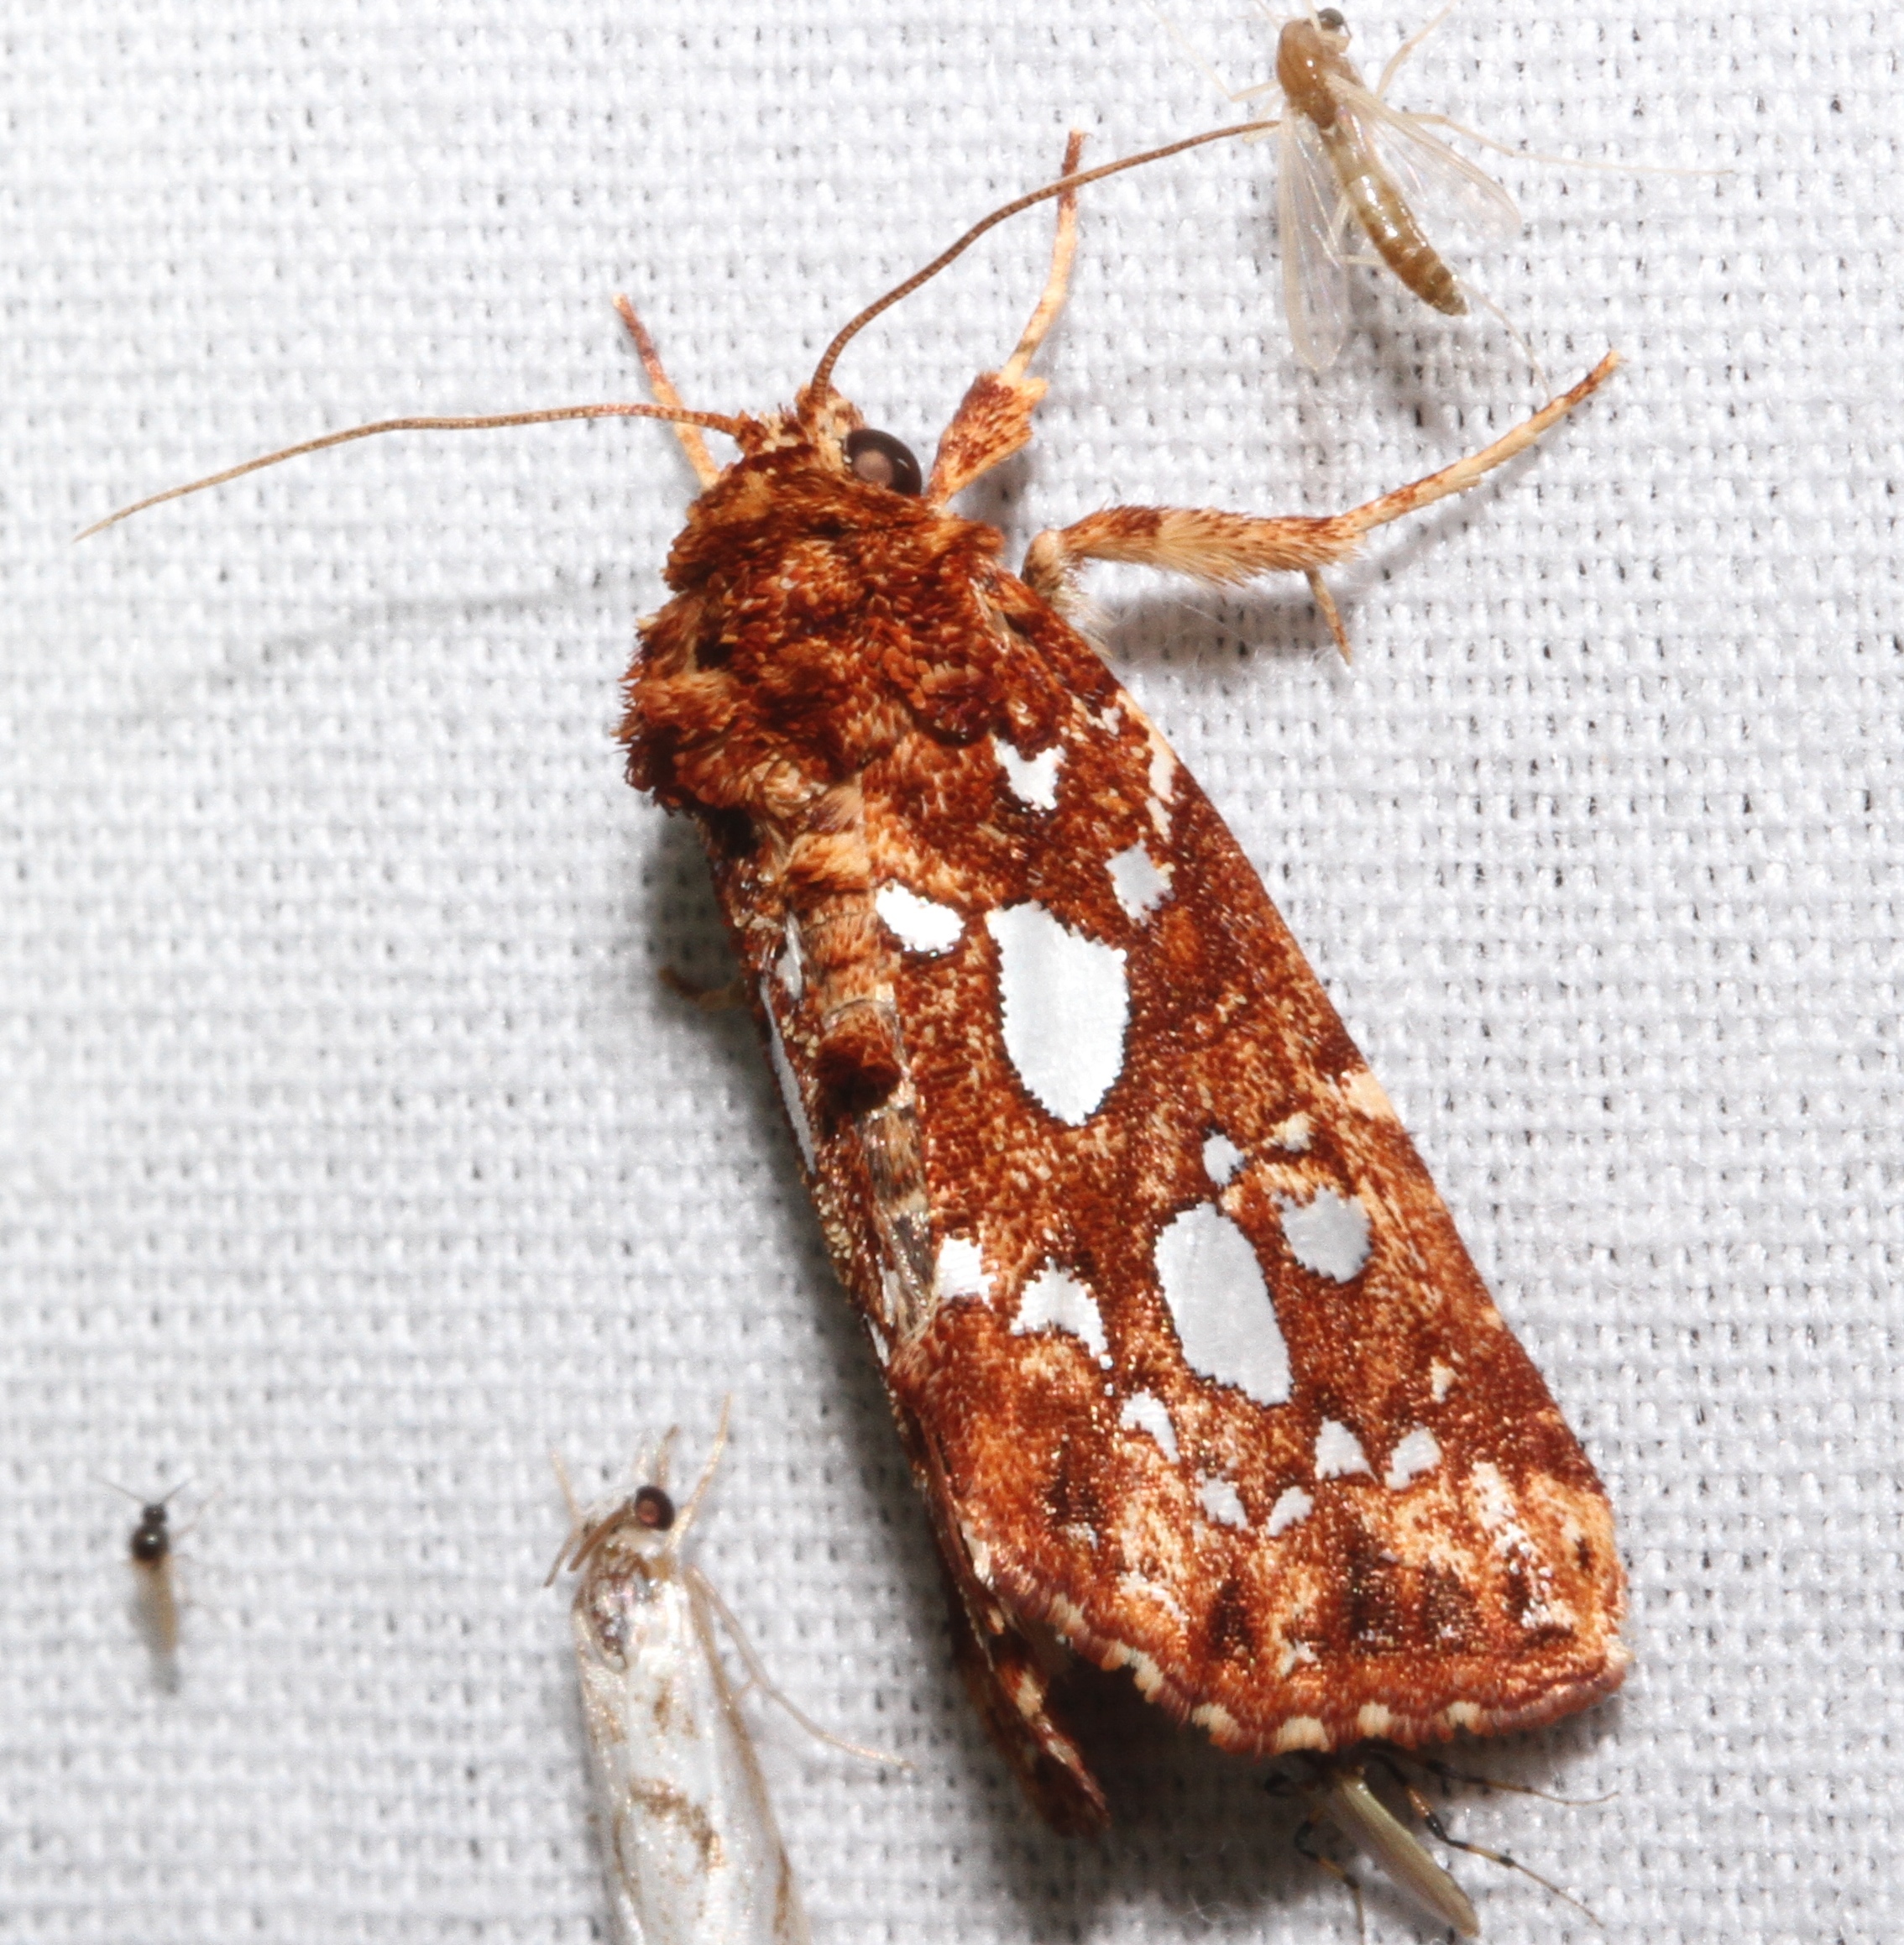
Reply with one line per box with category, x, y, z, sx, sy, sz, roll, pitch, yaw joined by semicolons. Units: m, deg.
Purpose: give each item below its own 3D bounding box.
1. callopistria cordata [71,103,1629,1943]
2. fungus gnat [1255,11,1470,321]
callopistria cordata;0.121;0.162;2.374;0.892;0.341;1.248;-20;84;12
fungus gnat;0.314;-0.610;2.581;0.151;0.057;0.228;-26;85;30
